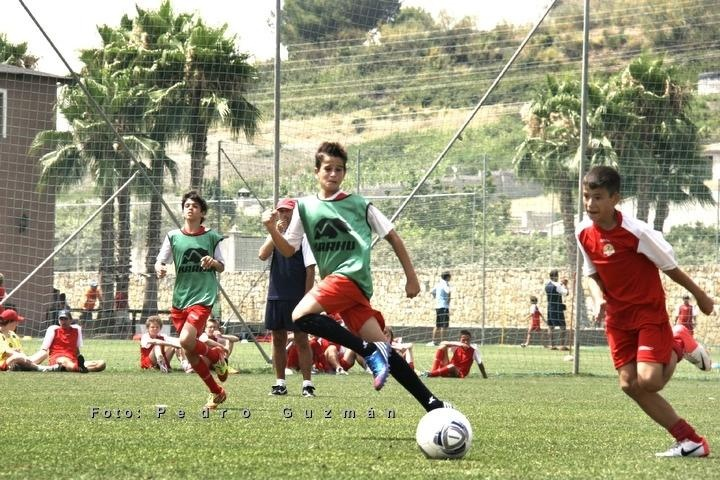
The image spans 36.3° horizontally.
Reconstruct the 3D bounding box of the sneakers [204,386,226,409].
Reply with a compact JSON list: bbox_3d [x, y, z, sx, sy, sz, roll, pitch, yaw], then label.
[{"bbox_3d":[-2.315,2.577,17.834,0.171,0.246,0.480,-6,6,33],"label":"sneakers"}]

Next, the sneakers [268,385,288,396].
[{"bbox_3d":[-1.392,2.606,19.071,0.327,0.151,0.127,2,-2,8],"label":"sneakers"}]

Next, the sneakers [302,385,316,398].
[{"bbox_3d":[-0.853,2.599,18.907,0.107,0.123,0.293,4,-9,-32],"label":"sneakers"}]

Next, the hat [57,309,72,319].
[{"bbox_3d":[-5.850,1.474,21.885,0.217,0.164,0.189,1,-6,-24],"label":"hat"}]

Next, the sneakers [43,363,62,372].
[{"bbox_3d":[-6.030,2.491,21.596,0.371,0.170,0.142,-5,-3,4],"label":"sneakers"}]

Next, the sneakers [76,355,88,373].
[{"bbox_3d":[-5.389,2.408,21.536,0.132,0.445,0.176,-12,12,-32],"label":"sneakers"}]

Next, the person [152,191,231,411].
[{"bbox_3d":[-2.757,0.936,18.205,1.061,3.651,0.914,-1,-5,-8],"label":"person"}]
